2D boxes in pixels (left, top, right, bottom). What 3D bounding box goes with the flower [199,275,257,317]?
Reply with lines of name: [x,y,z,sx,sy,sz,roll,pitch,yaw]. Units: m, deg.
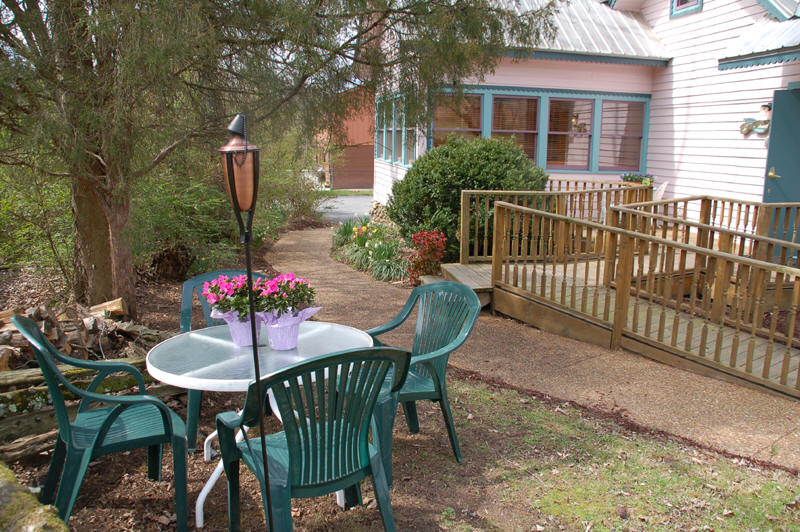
flower: [-1.471,0.241,4.946,0.392,0.314,0.430,9,10,31]

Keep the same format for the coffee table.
coffee table: [-1.206,0.839,4.813,1.585,1.156,1.657,13,21,33]

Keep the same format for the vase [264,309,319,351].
vase: [-0.996,0.500,5.069,0.497,0.428,0.575,3,7,-5]

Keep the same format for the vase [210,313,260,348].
vase: [-1.443,0.533,5.007,0.352,0.258,0.350,3,6,38]

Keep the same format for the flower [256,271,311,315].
flower: [-0.983,0.282,4.981,0.350,0.327,0.352,2,13,0]
